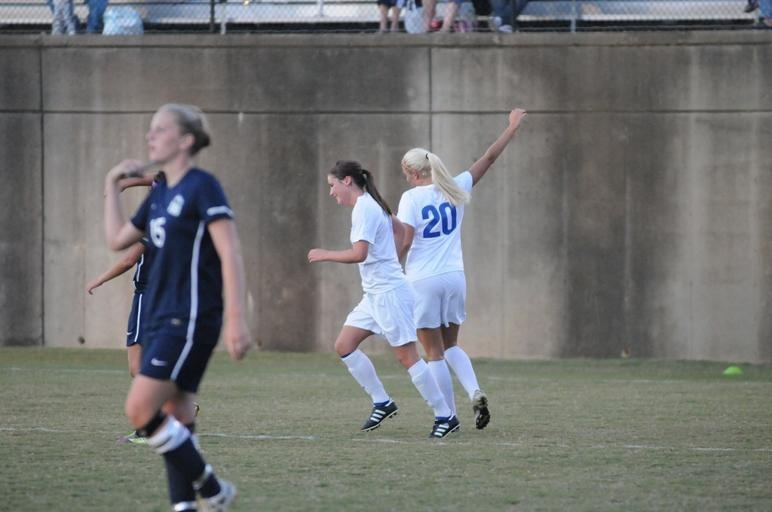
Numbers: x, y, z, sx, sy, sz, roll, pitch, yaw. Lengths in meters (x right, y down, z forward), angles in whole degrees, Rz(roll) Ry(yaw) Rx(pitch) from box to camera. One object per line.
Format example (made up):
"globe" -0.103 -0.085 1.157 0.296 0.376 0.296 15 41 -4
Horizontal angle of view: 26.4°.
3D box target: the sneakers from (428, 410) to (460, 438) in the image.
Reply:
"sneakers" 0.733 2.108 20.296 0.437 0.274 0.248 -1 2 -20

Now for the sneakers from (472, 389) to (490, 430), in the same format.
"sneakers" 1.151 1.912 20.282 0.204 0.491 0.247 -4 -2 -10
